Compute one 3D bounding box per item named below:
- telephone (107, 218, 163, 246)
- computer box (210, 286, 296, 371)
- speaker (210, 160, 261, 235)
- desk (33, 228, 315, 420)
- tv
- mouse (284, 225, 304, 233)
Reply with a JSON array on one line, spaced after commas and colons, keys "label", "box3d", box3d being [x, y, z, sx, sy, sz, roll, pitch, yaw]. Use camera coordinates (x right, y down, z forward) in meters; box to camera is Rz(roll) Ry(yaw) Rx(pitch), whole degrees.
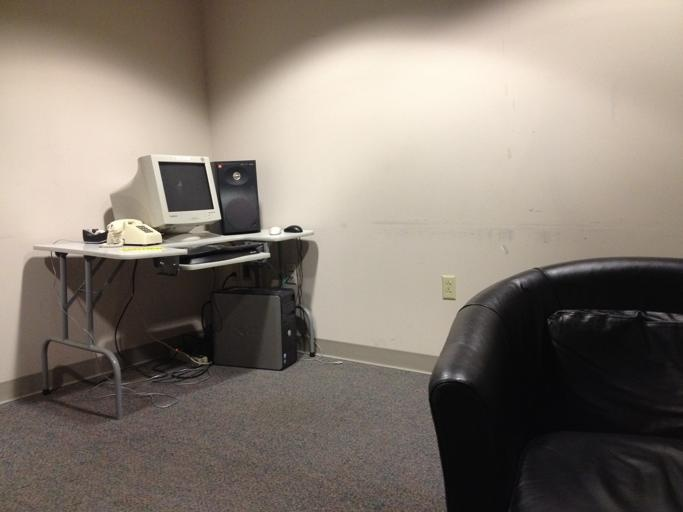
[{"label": "telephone", "box3d": [-1.124, -0.121, 2.997, 0.175, 0.100, 0.199, 3, 7, 9]}, {"label": "computer box", "box3d": [-0.562, 0.458, 3.588, 0.494, 0.499, 0.292, 0, 5, 15]}, {"label": "speaker", "box3d": [-0.679, -0.376, 3.619, 0.260, 0.474, 0.234, -6, -5, -16]}, {"label": "desk", "box3d": [-1.122, 0.370, 3.575, 0.703, 0.755, 1.527, 5, 7, 16]}, {"label": "tv", "box3d": [-1.130, -0.360, 3.477, 0.677, 0.477, 0.710, -5, 6, -12]}, {"label": "mouse", "box3d": [-0.295, -0.176, 3.488, 0.090, 0.033, 0.053, 4, 6, 30]}]
